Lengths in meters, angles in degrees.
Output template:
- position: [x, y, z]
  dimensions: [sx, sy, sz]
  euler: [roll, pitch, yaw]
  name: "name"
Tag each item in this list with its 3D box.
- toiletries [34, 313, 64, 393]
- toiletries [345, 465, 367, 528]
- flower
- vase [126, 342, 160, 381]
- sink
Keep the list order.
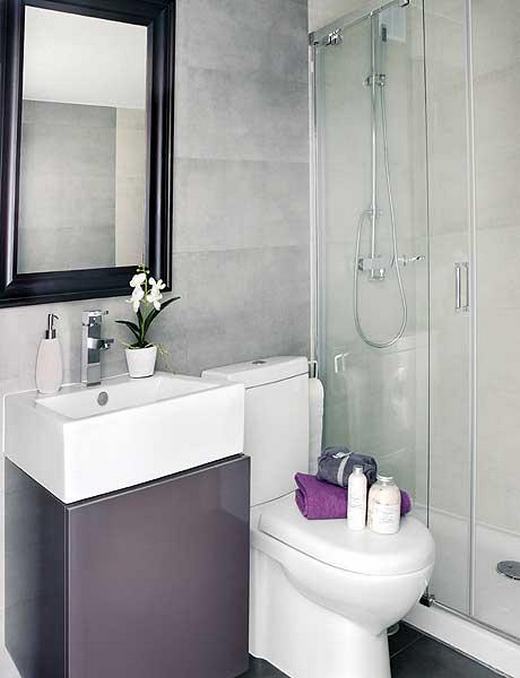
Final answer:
- position: [-0.514, 0.054, 1.398]
  dimensions: [0.042, 0.243, 0.058]
  euler: [10, 9, 37]
  name: "toiletries"
- position: [0.251, 0.416, 1.495]
  dimensions: [0.046, 0.149, 0.058]
  euler: [3, 5, 35]
  name: "toiletries"
- position: [-0.331, -0.095, 1.625]
  dimensions: [0.096, 0.255, 0.161]
  euler: [-6, 1, -21]
  name: "flower"
- position: [-0.334, 0.061, 1.630]
  dimensions: [0.071, 0.083, 0.081]
  euler: [7, 10, 38]
  name: "vase"
- position: [-0.332, 0.214, 1.435]
  dimensions: [0.398, 0.191, 0.521]
  euler: [5, 8, 43]
  name: "sink"
